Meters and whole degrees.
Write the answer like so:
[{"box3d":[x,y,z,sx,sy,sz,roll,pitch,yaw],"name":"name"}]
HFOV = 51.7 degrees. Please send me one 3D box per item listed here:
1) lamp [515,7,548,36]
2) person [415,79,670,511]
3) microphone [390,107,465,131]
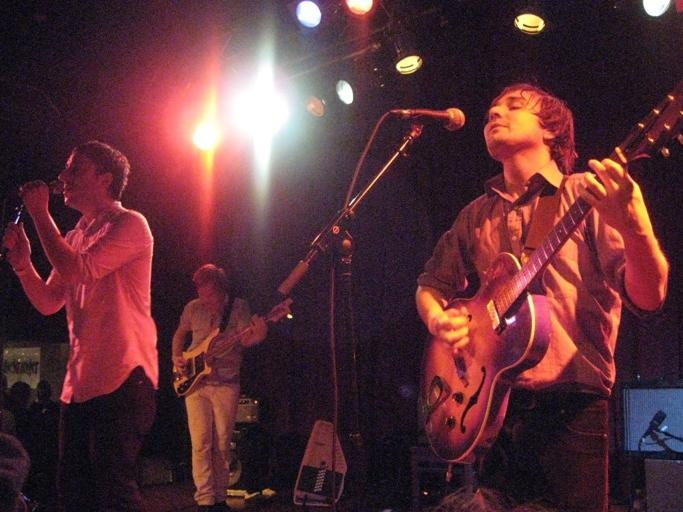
[{"box3d":[1.327,-1.663,4.991,0.212,0.118,0.208,-4,-27,15],"name":"lamp"},{"box3d":[0.994,0.126,3.405,0.672,2.016,1.344,19,-29,-32],"name":"person"},{"box3d":[0.487,-0.830,4.226,0.476,0.181,0.175,2,11,-1],"name":"microphone"}]
